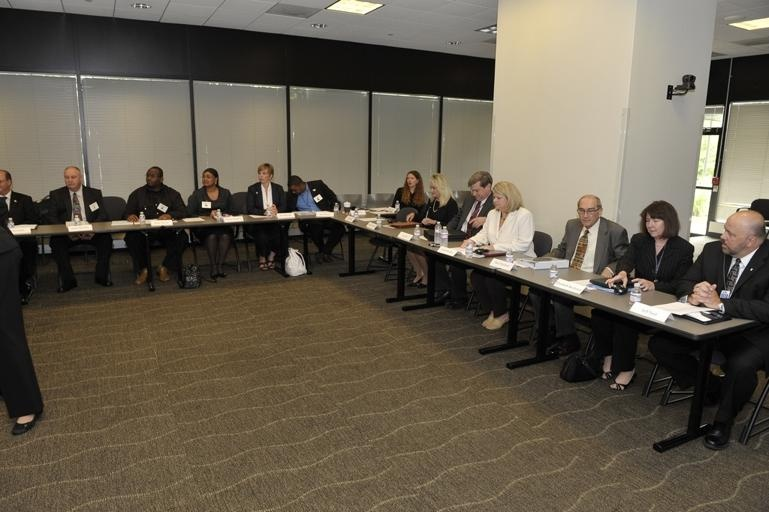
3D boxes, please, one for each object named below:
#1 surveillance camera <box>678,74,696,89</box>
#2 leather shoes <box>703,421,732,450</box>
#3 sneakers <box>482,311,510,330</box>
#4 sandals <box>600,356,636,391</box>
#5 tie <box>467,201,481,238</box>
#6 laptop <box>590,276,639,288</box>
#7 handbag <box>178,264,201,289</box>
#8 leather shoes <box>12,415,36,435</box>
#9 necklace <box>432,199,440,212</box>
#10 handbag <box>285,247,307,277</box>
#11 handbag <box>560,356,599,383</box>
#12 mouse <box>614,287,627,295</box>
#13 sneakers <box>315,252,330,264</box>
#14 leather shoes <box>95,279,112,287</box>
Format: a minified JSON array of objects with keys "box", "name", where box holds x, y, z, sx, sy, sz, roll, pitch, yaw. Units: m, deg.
[{"box":[3.664,-2.125,6.142,0.118,0.190,0.291,9,16,41],"name":"surveillance camera"},{"box":[2.728,1.481,4.189,0.117,0.128,0.318,-5,-1,43],"name":"leather shoes"},{"box":[1.318,0.756,6.079,0.280,0.104,0.169,-10,10,-34],"name":"sneakers"},{"box":[2.328,1.192,5.035,0.166,0.233,0.549,-2,-7,38],"name":"sandals"},{"box":[1.180,-0.515,6.742,0.285,0.396,0.143,1,-7,15],"name":"tie"},{"box":[2.078,0.239,4.650,0.196,0.046,0.195,-3,9,-11],"name":"laptop"},{"box":[-2.822,0.276,7.424,0.346,0.350,0.271,4,3,-7],"name":"handbag"},{"box":[-3.029,1.428,4.287,0.095,0.072,0.188,4,6,2],"name":"leather shoes"},{"box":[0.774,-0.775,7.615,0.050,0.160,0.113,16,-19,-34],"name":"necklace"},{"box":[-1.388,0.103,7.955,0.304,0.524,0.417,-6,-1,36],"name":"handbag"},{"box":[1.924,1.105,4.984,0.328,0.227,0.221,4,-4,-25],"name":"handbag"},{"box":[2.099,0.304,4.547,0.067,0.035,0.095,7,8,45],"name":"mouse"},{"box":[-1.062,0.024,8.838,0.121,0.145,0.366,-4,1,-32],"name":"sneakers"},{"box":[-4.059,0.383,7.365,0.229,0.098,0.097,0,4,4],"name":"leather shoes"}]
